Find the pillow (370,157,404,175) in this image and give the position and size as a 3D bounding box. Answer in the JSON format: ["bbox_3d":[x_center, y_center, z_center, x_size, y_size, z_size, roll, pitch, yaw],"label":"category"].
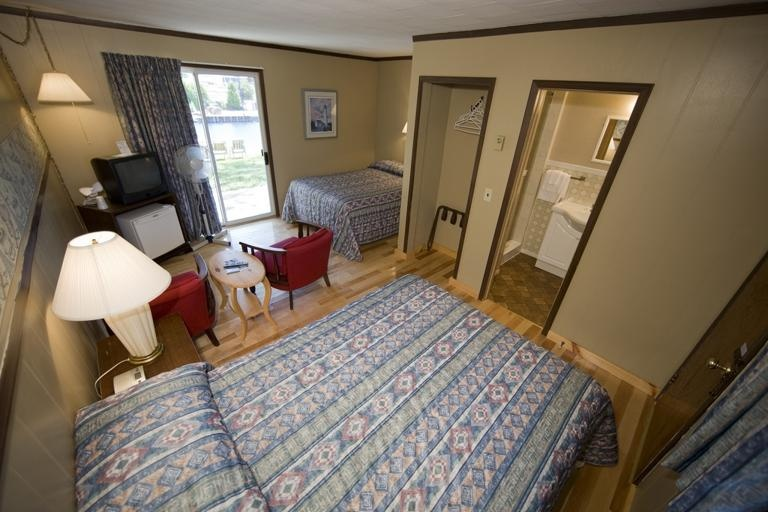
[{"bbox_3d":[0.082,-1.558,8.135,0.404,0.138,0.660,-24,37,-36],"label":"pillow"}]

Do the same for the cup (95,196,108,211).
[{"bbox_3d":[-3.431,-0.644,5.628,0.107,0.138,0.166,-16,33,-29],"label":"cup"}]

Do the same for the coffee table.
[{"bbox_3d":[-1.604,0.458,5.291,0.425,0.660,0.727,-24,46,-33],"label":"coffee table"}]

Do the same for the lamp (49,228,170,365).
[{"bbox_3d":[-2.278,0.393,3.808,0.710,1.022,0.705,-19,37,-34],"label":"lamp"}]

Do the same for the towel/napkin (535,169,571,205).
[{"bbox_3d":[2.259,-0.917,6.189,0.412,0.425,0.178,17,19,25],"label":"towel/napkin"}]

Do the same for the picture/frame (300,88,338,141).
[{"bbox_3d":[-1.117,-2.391,7.774,0.747,0.825,0.068,-20,33,-39],"label":"picture/frame"}]

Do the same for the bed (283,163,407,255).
[{"bbox_3d":[-0.414,-0.993,7.573,1.878,0.754,2.232,23,33,34],"label":"bed"}]

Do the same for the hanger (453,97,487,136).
[{"bbox_3d":[1.095,-1.740,5.890,0.455,0.472,0.212,16,13,34],"label":"hanger"}]

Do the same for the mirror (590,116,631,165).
[{"bbox_3d":[2.754,-1.375,5.794,0.522,0.075,0.945,4,57,7],"label":"mirror"}]

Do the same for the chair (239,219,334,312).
[{"bbox_3d":[-1.208,0.002,5.772,1.039,0.818,1.084,-7,30,-17],"label":"chair"}]

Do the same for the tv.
[{"bbox_3d":[-3.320,-0.974,6.054,0.820,0.570,0.799,-21,20,-30],"label":"tv"}]

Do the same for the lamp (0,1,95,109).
[{"bbox_3d":[-3.803,-2.167,5.183,0.626,1.009,0.547,-20,35,-33],"label":"lamp"}]

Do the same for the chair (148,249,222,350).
[{"bbox_3d":[-1.988,0.392,4.875,0.707,0.876,0.782,-21,56,-36],"label":"chair"}]
